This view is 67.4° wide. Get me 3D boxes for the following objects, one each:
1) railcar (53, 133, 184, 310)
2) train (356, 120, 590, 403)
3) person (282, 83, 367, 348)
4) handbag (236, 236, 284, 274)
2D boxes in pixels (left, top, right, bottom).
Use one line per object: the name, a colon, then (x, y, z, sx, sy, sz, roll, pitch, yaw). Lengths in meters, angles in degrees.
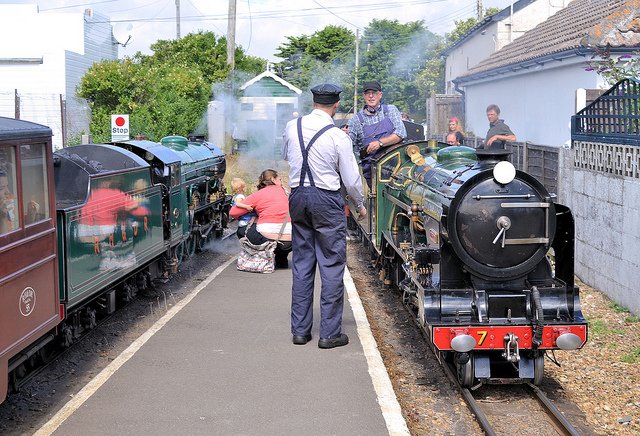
railcar: (-3.435, -0.132, 7.521, 1.308, 1.802, 4.514, 2, 8, 1)
train: (1.883, 0.605, 6.117, 1.123, 1.867, 3.786, 0, 5, -4)
person: (0.043, -0.002, 5.776, 0.935, 3.131, 0.666, -2, 11, -4)
handbag: (-1.174, 0.641, 9.009, 0.805, 0.834, 0.362, 3, -11, 14)
